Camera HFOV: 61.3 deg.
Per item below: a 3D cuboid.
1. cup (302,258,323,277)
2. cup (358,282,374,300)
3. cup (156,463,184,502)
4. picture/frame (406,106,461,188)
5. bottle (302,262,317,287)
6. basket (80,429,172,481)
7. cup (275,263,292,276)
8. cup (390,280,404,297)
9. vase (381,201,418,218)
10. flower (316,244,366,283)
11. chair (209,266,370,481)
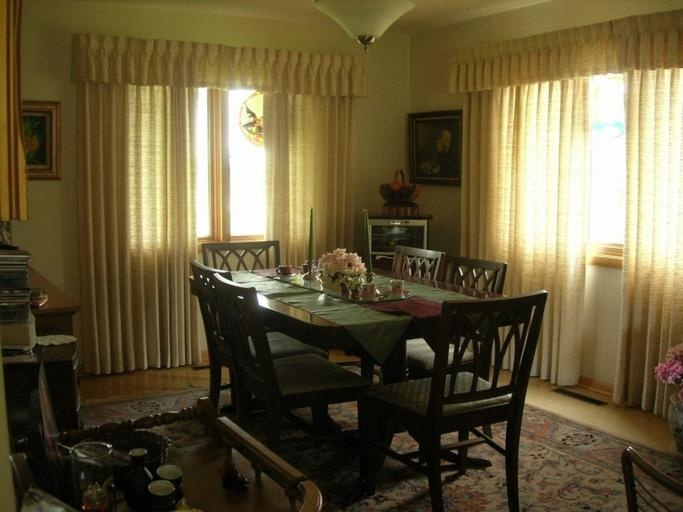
[{"bbox_3d":[-0.197,0.077,3.787,0.123,0.125,0.130,0,-2,0],"label":"cup"},{"bbox_3d":[0.148,0.197,3.185,0.087,0.078,0.085,0,-5,0],"label":"cup"},{"bbox_3d":[-0.486,0.666,1.717,0.083,0.085,0.082,1,7,0],"label":"cup"},{"bbox_3d":[0.869,-1.012,5.325,0.067,0.795,0.826,-5,8,-37],"label":"picture/frame"},{"bbox_3d":[-0.194,0.121,3.647,0.148,0.146,0.135,1,8,-11],"label":"bottle"},{"bbox_3d":[-0.684,0.640,1.902,0.219,0.074,0.227,-22,-32,28],"label":"basket"},{"bbox_3d":[-0.383,0.097,3.846,0.090,0.055,0.064,-3,2,-8],"label":"cup"},{"bbox_3d":[0.305,0.183,3.268,0.085,0.085,0.081,-1,1,0],"label":"cup"},{"bbox_3d":[0.522,-0.407,5.100,0.309,0.126,0.177,0,7,4],"label":"vase"},{"bbox_3d":[-0.028,0.074,3.475,0.334,0.206,0.313,1,11,10],"label":"flower"},{"bbox_3d":[-0.356,0.607,3.340,0.726,0.879,1.130,1,1,-20],"label":"chair"}]
